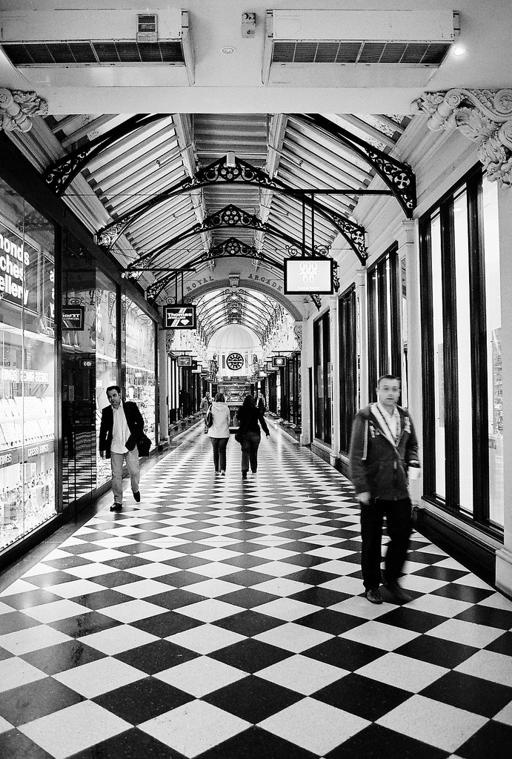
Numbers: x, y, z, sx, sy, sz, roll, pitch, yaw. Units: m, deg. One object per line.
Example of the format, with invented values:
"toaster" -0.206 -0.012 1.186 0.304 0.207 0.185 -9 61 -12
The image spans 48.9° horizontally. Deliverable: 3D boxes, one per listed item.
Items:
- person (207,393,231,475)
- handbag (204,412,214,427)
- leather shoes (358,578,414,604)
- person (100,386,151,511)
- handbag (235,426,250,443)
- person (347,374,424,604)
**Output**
"person" -0.633 0.910 9.191 0.364 1.350 1.406 0 -3 -4
"handbag" -0.748 0.629 8.958 0.073 0.262 0.281 1 -3 -15
"leather shoes" 0.780 1.248 3.390 0.287 0.164 0.111 -5 -5 20
"person" -1.566 0.793 6.689 0.563 1.431 0.747 1 -3 -17
"handbag" -0.235 0.878 8.970 0.182 0.245 0.237 0 -3 -11
"person" 0.766 0.648 3.384 0.426 1.337 0.296 0 -3 3
